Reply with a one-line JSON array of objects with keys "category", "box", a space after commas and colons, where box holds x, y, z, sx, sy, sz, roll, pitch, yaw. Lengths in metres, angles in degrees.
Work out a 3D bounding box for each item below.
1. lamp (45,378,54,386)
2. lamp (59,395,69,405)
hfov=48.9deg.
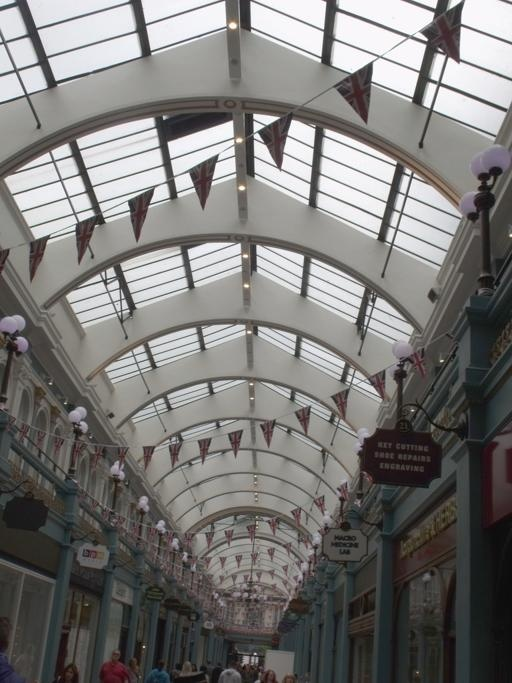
[{"category": "lamp", "box": [-6.250, 1.249, 17.101, 0.179, 0.204, 0.184, -6, -29, 4]}, {"category": "lamp", "box": [-6.303, 1.960, 18.671, 0.165, 0.363, 0.244, -10, -45, 0]}]
